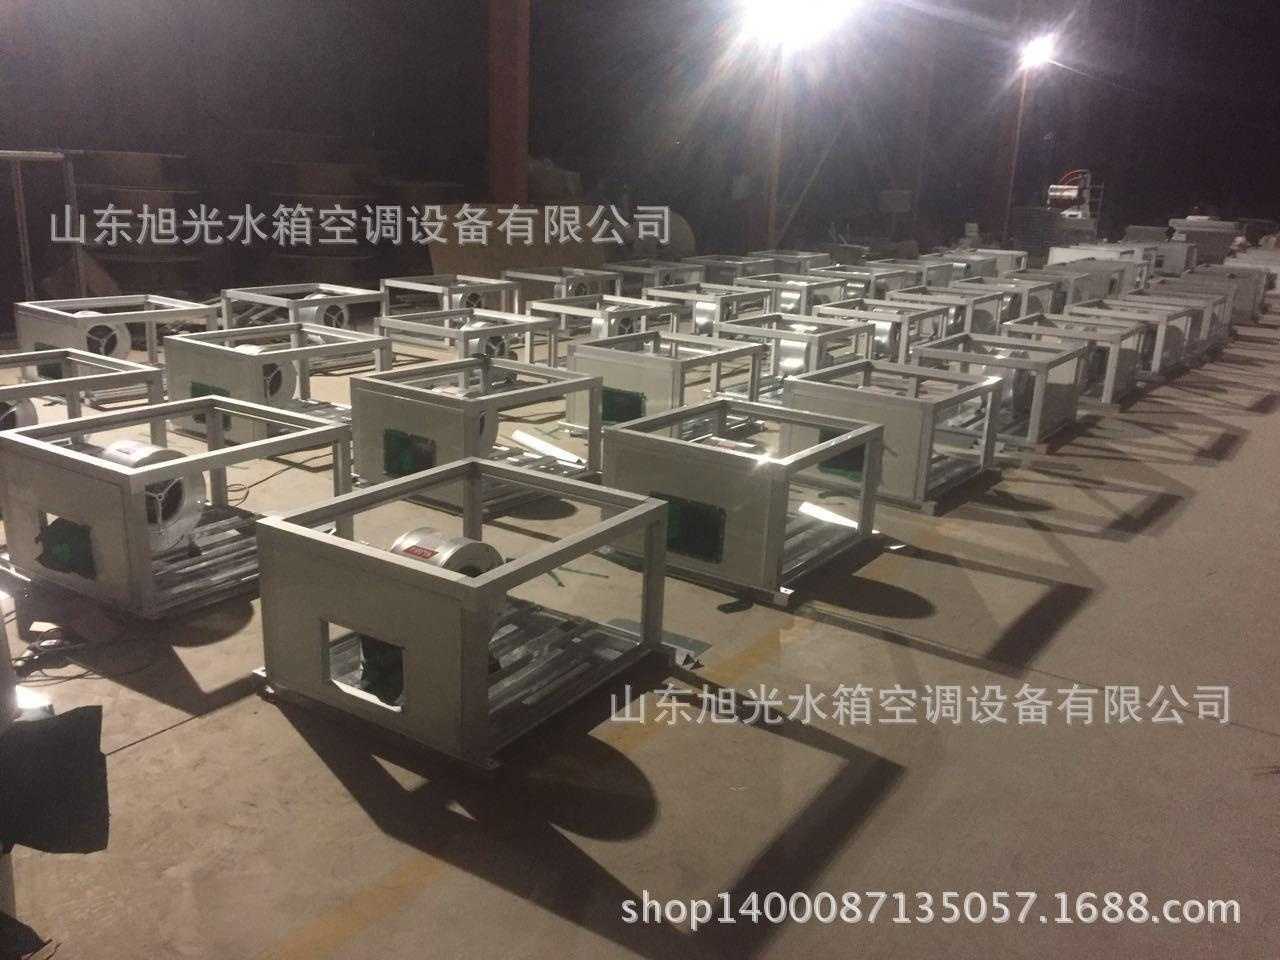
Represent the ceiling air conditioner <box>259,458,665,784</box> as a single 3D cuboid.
[{"bbox_3d":[-1.203,0.761,6.157,1.928,1.220,2.009,12,19,30],"label":"ceiling air conditioner"}]
